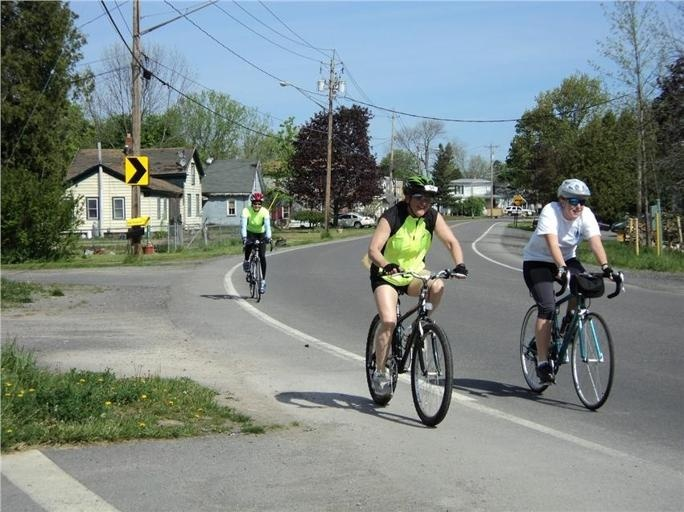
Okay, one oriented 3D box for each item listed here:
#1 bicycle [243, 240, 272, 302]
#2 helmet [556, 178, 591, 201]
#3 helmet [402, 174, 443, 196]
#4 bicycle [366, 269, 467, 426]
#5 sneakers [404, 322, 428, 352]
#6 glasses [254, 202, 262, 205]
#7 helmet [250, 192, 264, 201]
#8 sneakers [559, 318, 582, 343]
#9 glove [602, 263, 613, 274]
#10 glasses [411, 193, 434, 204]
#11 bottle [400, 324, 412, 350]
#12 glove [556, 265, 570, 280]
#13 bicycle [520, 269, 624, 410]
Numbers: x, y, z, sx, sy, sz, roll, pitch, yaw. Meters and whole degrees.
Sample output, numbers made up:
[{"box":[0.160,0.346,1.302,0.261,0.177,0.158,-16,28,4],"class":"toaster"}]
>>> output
[{"box":[-1.861,0.294,15.278,0.373,1.280,1.187,0,4,-10],"class":"bicycle"},{"box":[2.471,-0.716,7.686,0.229,0.188,0.368,3,5,0],"class":"helmet"},{"box":[0.767,-0.689,6.936,0.322,0.207,0.423,1,4,4],"class":"helmet"},{"box":[0.726,0.866,6.962,0.445,1.473,1.165,-1,4,-30],"class":"bicycle"},{"box":[0.719,0.765,6.965,0.139,0.205,0.299,3,2,-9],"class":"sneakers"},{"box":[-1.771,-1.115,15.027,0.069,0.044,0.165,3,5,28],"class":"glasses"},{"box":[-1.814,-1.242,14.949,0.254,0.198,0.678,0,4,-9],"class":"helmet"},{"box":[2.448,0.788,7.589,0.078,0.247,0.167,10,17,-22],"class":"sneakers"},{"box":[2.788,0.141,7.500,0.085,0.070,0.151,-8,27,-10],"class":"glove"},{"box":[0.782,-0.555,6.890,0.112,0.040,0.118,6,-21,-28],"class":"glasses"},{"box":[0.668,0.818,7.183,0.065,0.207,0.138,11,-4,-38],"class":"bottle"},{"box":[2.291,0.181,7.359,0.086,0.135,0.132,2,2,2],"class":"glove"},{"box":[2.481,0.854,7.690,0.624,1.438,1.383,0,4,-16],"class":"bicycle"}]
